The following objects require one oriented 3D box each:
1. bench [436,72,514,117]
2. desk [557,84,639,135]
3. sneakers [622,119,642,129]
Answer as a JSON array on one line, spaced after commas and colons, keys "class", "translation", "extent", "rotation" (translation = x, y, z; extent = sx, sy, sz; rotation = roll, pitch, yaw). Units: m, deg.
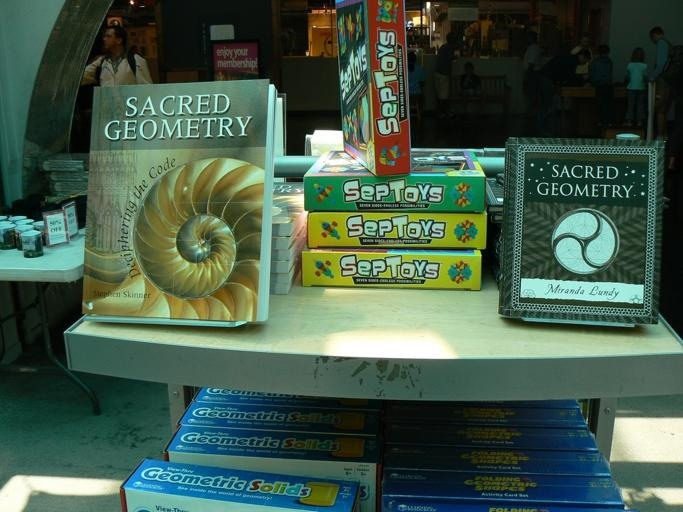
[{"class": "bench", "translation": [1.479, -1.726, 6.304], "extent": [0.975, 0.535, 0.367], "rotation": [4, 45, 13]}, {"class": "desk", "translation": [2.343, -1.334, 5.353], "extent": [0.391, 0.479, 0.967], "rotation": [-4, 18, -5]}, {"class": "sneakers", "translation": [2.517, -1.157, 5.073], "extent": [0.062, 0.073, 0.189], "rotation": [-3, 26, 12]}]
